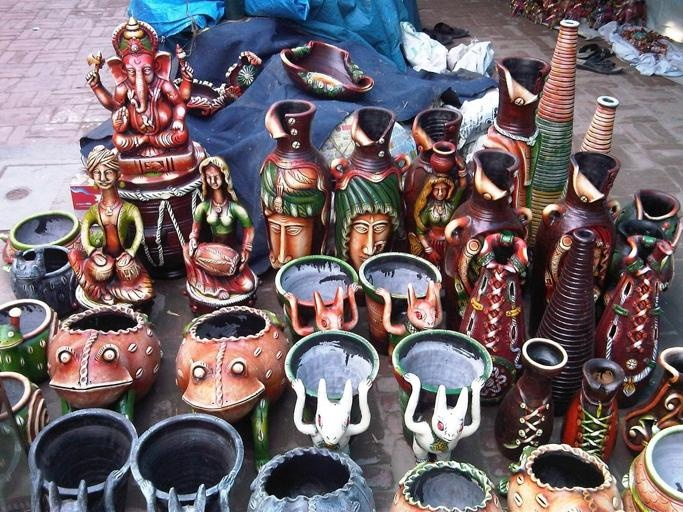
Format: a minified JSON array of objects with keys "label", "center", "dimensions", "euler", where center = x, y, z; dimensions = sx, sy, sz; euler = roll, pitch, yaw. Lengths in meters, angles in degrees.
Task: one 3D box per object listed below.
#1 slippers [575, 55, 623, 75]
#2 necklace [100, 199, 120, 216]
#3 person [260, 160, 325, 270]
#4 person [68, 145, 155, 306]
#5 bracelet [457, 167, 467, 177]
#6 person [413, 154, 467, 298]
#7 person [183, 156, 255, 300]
[{"label":"slippers","center":[3.401,-2.501,8.879],"dimensions":[0.576,0.145,0.440],"euler":[7,28,15]},{"label":"necklace","center":[-1.647,-0.339,4.832],"dimensions":[0.091,0.049,0.100],"euler":[0,33,-4]},{"label":"person","center":[-0.341,-0.397,5.165],"dimensions":[0.504,1.048,0.541],"euler":[1,28,0]},{"label":"person","center":[-1.680,-0.175,4.844],"dimensions":[0.551,1.161,0.600],"euler":[-9,26,-16]},{"label":"bracelet","center":[0.866,-0.608,4.822],"dimensions":[0.060,0.061,0.072],"euler":[-4,57,16]},{"label":"person","center":[0.735,-0.203,5.005],"dimensions":[0.393,1.317,0.305],"euler":[1,30,15]},{"label":"person","center":[-0.874,-0.209,4.831],"dimensions":[0.508,0.980,0.352],"euler":[-8,26,-15]}]
